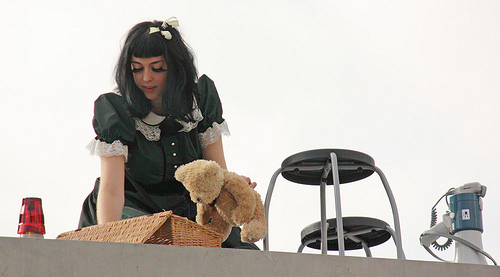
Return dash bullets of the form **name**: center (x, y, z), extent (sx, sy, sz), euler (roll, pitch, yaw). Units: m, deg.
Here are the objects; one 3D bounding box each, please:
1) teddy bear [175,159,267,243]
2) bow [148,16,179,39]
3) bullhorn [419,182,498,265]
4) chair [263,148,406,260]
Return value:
- **teddy bear**: center (-0.173, 0.402, 6.192), extent (0.622, 0.537, 0.391), euler (3, -6, -30)
- **bow**: center (-0.610, -0.801, 7.001), extent (0.213, 0.218, 0.089), euler (3, -31, -12)
- **bullhorn**: center (1.350, 0.557, 6.579), extent (0.462, 0.806, 0.342), euler (1, -1, -3)
- **chair**: center (0.589, 0.508, 6.844), extent (0.919, 0.769, 0.927), euler (5, -12, -32)
